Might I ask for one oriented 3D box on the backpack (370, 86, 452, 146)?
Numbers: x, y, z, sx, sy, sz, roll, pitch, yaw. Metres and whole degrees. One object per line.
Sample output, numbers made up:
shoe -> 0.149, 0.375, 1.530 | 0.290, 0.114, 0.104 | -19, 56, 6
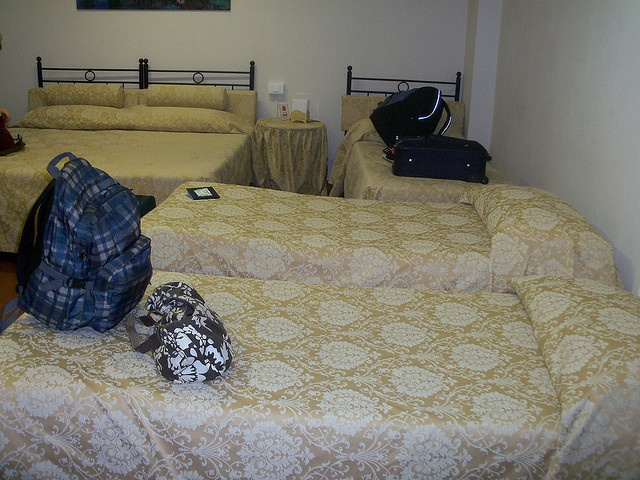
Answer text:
backpack -> 0.609, -0.903, 3.637 | 0.523, 0.426, 0.237 | 14, 26, 20

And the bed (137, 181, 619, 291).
bed -> 0.164, -0.023, 2.160 | 1.314, 0.384, 0.786 | 2, 31, 2

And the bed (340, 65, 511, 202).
bed -> 0.613, -0.508, 3.798 | 0.973, 0.983, 1.466 | 1, 44, 3

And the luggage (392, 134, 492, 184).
luggage -> 0.728, -0.476, 3.002 | 0.413, 0.165, 0.333 | 4, 23, 8

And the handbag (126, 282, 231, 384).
handbag -> -0.393, 0.242, 1.420 | 0.220, 0.104, 0.306 | -1, 33, -32

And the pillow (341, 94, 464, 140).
pillow -> 0.640, -1.105, 4.405 | 1.072, 0.389, 0.140 | 14, 32, 41
